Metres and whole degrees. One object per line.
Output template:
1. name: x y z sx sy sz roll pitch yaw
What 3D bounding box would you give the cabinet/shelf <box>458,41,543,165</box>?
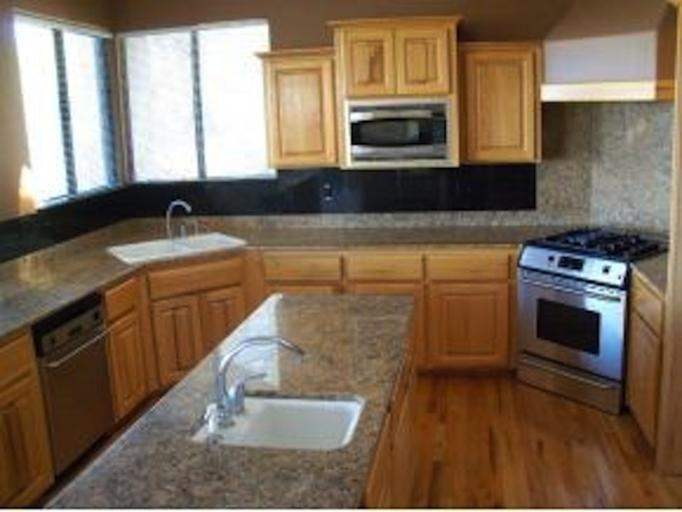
1. cabinet/shelf: 0.485 -0.456 1.622 0.343 0.331 0.347 0 2 6

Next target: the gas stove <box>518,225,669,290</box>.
1. gas stove: 0.916 -0.017 1.818 0.457 0.219 0.232 11 18 42

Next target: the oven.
1. oven: 0.970 0.252 1.995 0.400 0.537 0.442 -15 19 -31

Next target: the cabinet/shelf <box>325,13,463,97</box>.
1. cabinet/shelf: 0.157 -0.568 1.437 0.353 0.192 0.232 -1 13 4

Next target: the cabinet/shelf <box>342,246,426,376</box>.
1. cabinet/shelf: 0.133 0.156 1.800 0.331 0.497 0.381 1 5 5

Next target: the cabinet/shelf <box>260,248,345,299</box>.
1. cabinet/shelf: -0.124 0.061 1.577 0.243 0.163 0.139 0 12 -8

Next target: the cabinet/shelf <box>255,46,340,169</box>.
1. cabinet/shelf: -0.112 -0.427 1.505 0.262 0.310 0.255 3 13 23

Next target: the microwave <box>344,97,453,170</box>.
1. microwave: 0.186 -0.399 1.737 0.356 0.221 0.207 -1 -3 -1
